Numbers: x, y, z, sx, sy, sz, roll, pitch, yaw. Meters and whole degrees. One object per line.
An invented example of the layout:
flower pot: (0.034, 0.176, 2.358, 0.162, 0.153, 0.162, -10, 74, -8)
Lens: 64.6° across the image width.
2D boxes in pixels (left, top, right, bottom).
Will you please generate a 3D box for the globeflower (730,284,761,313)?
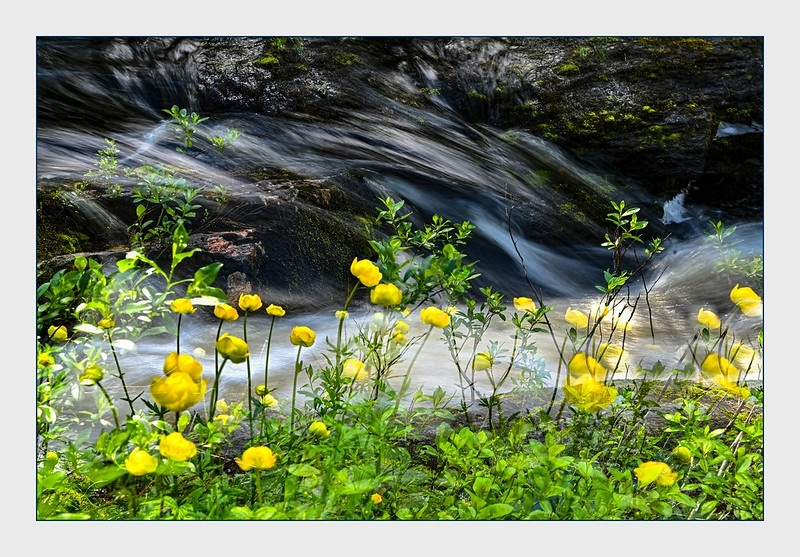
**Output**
globeflower: (1.106, 0.070, 2.024, 0.078, 0.092, 0.103, 3, 4, 35)

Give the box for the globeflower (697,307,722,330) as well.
globeflower: (0.994, 0.135, 2.040, 0.058, 0.042, 0.066, 39, 1, -30)

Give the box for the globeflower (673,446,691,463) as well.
globeflower: (0.835, 0.522, 1.866, 0.047, 0.021, 0.051, 31, -4, 9)
